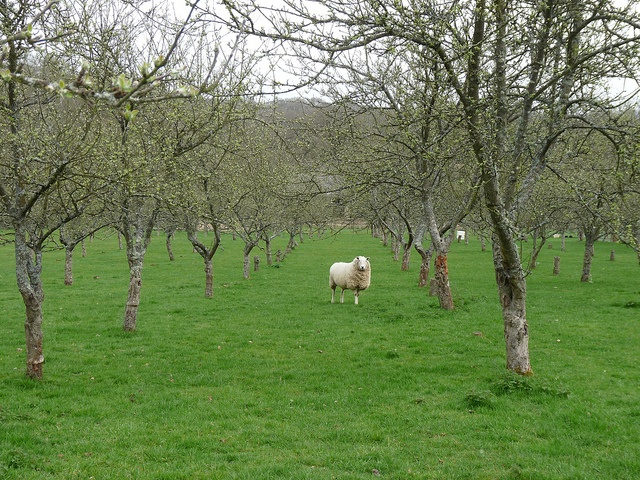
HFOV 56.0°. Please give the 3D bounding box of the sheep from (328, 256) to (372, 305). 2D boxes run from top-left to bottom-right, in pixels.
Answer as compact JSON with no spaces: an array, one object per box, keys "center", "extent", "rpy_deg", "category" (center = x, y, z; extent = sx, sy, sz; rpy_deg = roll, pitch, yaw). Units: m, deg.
[{"center":[1.617,2.182,32.384],"extent":[1.252,2.610,3.463],"rpy_deg":[0,-3,-27],"category":"sheep"}]
